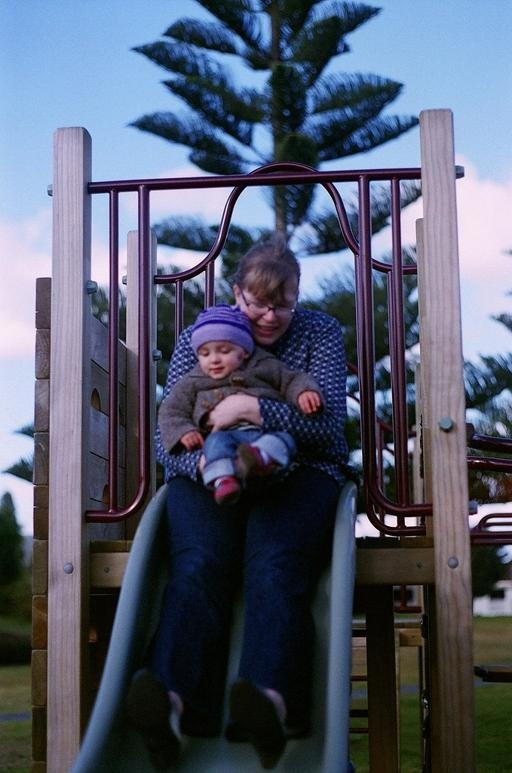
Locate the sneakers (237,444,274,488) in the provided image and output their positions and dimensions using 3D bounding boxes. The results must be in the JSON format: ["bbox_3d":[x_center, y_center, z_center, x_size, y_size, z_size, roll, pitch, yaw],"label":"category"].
[{"bbox_3d":[-0.009,0.194,3.047,0.047,0.060,0.136,-10,-39,-5],"label":"sneakers"}]

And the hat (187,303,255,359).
[{"bbox_3d":[-0.078,-0.152,3.317,0.130,0.114,0.135,-1,-19,-7],"label":"hat"}]

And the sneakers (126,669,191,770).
[{"bbox_3d":[-0.221,0.767,2.868,0.085,0.200,0.138,-19,-20,5],"label":"sneakers"}]

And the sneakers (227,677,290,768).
[{"bbox_3d":[0.016,0.753,2.863,0.131,0.193,0.068,23,22,28],"label":"sneakers"}]
